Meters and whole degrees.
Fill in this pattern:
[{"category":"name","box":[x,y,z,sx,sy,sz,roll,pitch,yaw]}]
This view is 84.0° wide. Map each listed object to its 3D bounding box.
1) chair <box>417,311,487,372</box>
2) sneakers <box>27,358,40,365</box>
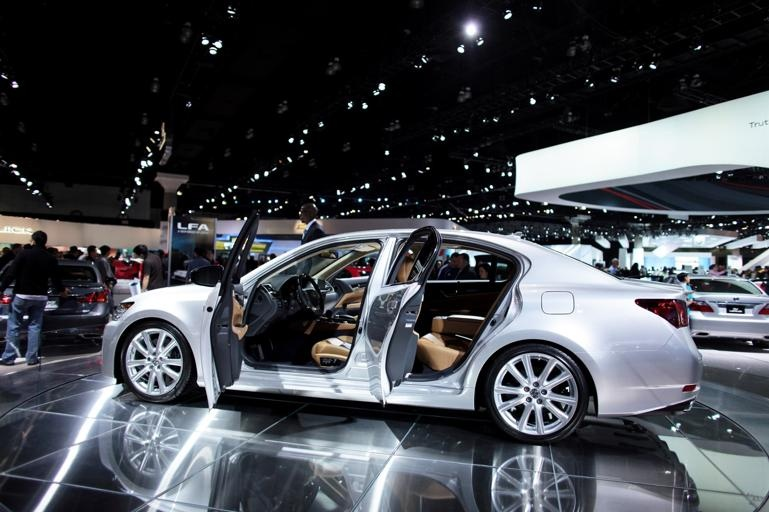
[{"category":"chair","box":[0.762,0.999,4.874,0.739,0.296,0.575,5,19,29]},{"category":"sneakers","box":[-5.343,1.616,6.466,0.067,0.068,0.185,2,-6,-6]}]
